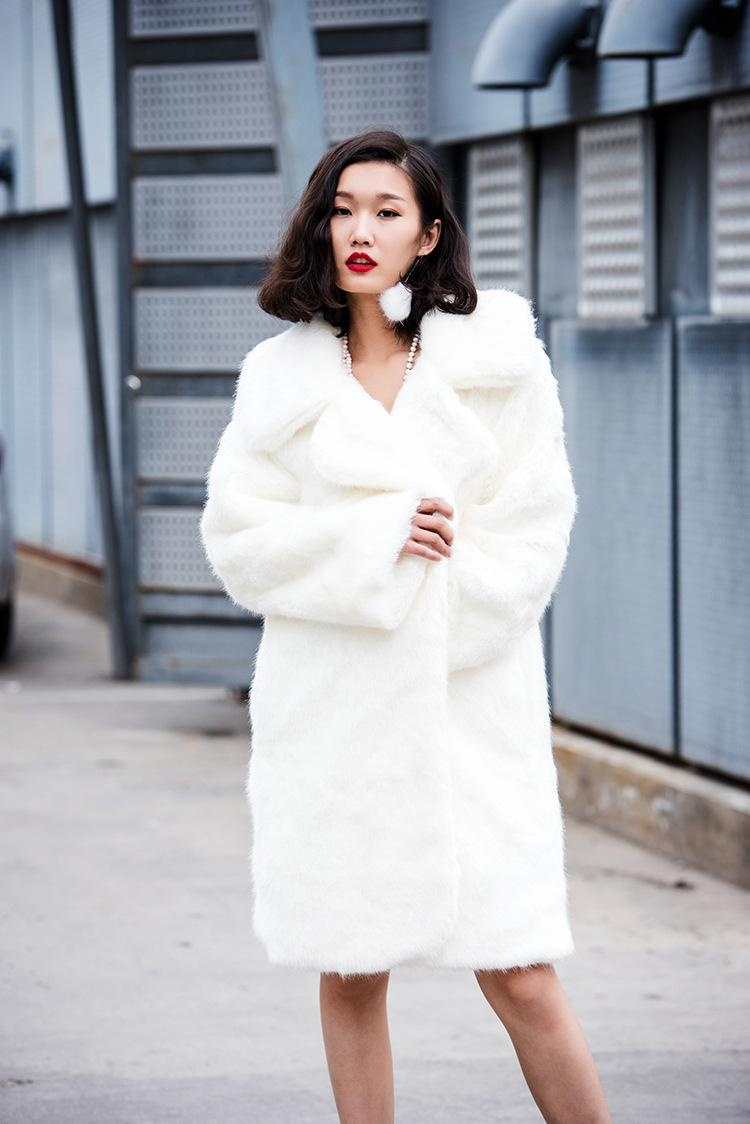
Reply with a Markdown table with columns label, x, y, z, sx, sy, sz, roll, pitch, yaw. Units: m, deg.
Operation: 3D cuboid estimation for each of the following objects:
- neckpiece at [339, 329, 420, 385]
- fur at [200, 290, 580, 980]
| label | x | y | z | sx | sy | sz | roll | pitch | yaw |
| --- | --- | --- | --- | --- | --- | --- | --- | --- | --- |
| neckpiece | 0.019 | -0.282 | 1.680 | 0.078 | 0.023 | 0.090 | 2 | 27 | 5 |
| fur | 0.017 | 0.096 | 1.663 | 0.519 | 0.938 | 0.308 | 0 | 4 | -4 |
